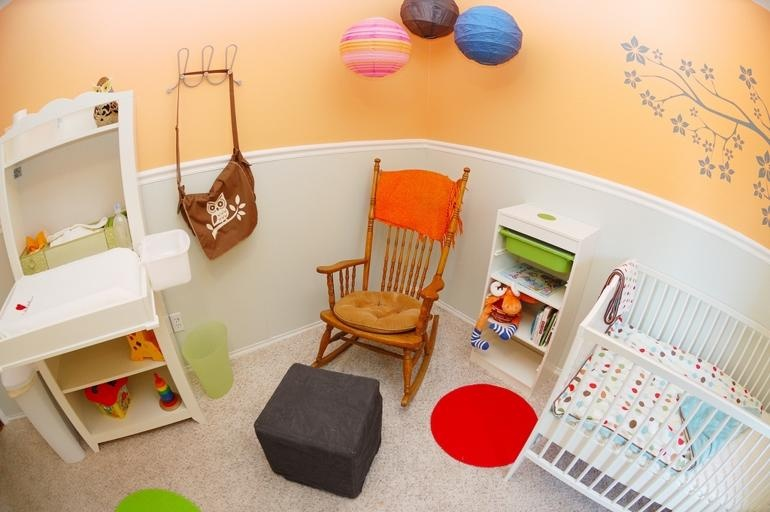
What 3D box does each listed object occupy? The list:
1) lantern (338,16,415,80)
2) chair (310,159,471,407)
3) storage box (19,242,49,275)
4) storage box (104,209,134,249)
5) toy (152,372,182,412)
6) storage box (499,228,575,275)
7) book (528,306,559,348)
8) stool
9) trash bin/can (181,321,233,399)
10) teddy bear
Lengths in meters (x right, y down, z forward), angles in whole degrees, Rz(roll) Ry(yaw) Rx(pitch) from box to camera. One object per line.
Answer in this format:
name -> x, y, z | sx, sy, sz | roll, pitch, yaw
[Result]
lantern -> -0.056, -1.174, 3.008 | 0.384, 0.268, 0.325 | 3, 53, -3
chair -> 0.013, 0.171, 3.420 | 0.852, 1.555, 1.089 | 14, 36, 17
storage box -> -1.890, 0.021, 2.777 | 0.159, 0.169, 0.116 | -7, 23, -26
storage box -> -1.508, -0.139, 2.862 | 0.108, 0.315, 0.111 | 14, 34, -2
toy -> -1.327, 0.831, 3.072 | 0.131, 0.239, 0.138 | -24, 50, -22
storage box -> 0.932, -0.033, 3.115 | 0.396, 0.133, 0.263 | 25, 30, 34
book -> 1.008, 0.455, 3.192 | 0.113, 0.203, 0.204 | 18, 38, 18
stool -> -0.382, 1.079, 3.100 | 0.742, 0.669, 0.591 | 12, 52, 9
trash bin/can -> -1.151, 0.669, 3.243 | 0.282, 0.401, 0.286 | 19, 37, 30
teddy bear -> 0.806, 0.353, 3.376 | 0.329, 0.532, 0.224 | 29, 25, 26
